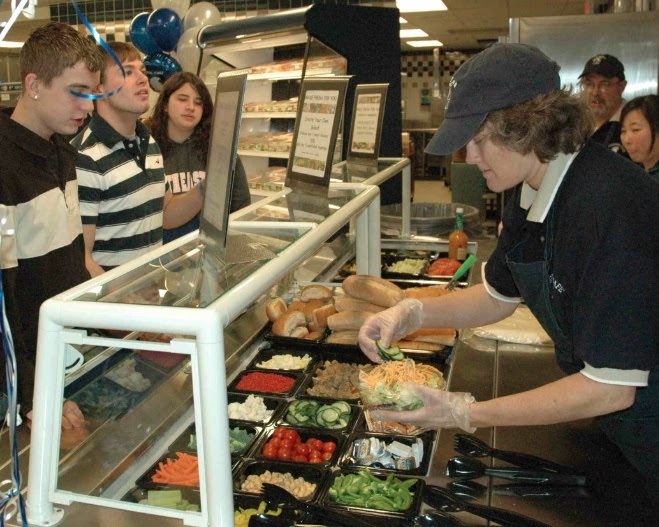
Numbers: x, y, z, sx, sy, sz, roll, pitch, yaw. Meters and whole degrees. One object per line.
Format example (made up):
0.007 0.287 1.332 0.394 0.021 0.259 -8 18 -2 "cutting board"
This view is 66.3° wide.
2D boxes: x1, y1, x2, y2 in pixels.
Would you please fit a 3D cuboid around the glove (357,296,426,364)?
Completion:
0.200 0.201 1.629 0.234 0.199 0.225 5 14 20 "glove"

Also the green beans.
0.110 0.560 1.241 0.226 0.040 0.205 -1 5 6 "green beans"

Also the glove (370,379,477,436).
0.241 0.371 1.308 0.235 0.071 0.131 1 20 -6 "glove"

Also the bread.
0.153 0.136 2.233 0.639 0.289 0.543 4 17 14 "bread"

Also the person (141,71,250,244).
-0.624 -0.547 3.159 0.684 1.202 0.641 -15 28 -37 "person"

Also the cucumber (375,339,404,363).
0.182 0.261 1.522 0.021 0.041 0.079 -13 39 -20 "cucumber"

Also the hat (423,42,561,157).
0.383 -0.381 1.180 0.272 0.258 0.131 8 11 18 "hat"
